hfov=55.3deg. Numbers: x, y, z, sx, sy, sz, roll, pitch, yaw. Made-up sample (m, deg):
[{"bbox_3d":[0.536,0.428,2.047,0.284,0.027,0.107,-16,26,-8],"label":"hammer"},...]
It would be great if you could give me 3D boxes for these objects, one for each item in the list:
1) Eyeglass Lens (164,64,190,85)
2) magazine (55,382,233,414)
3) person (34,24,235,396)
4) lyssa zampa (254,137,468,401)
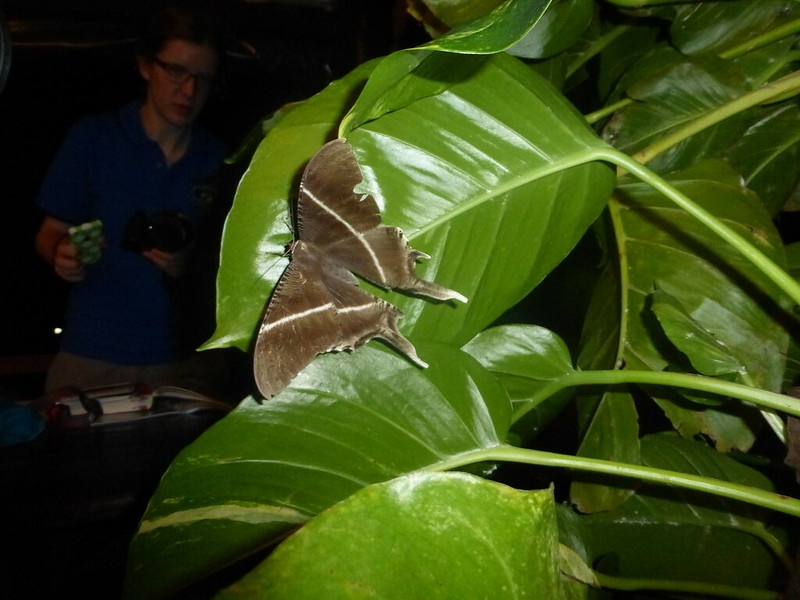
[{"bbox_3d":[-0.697,-0.708,2.402,0.054,0.016,0.055,41,31,17],"label":"Eyeglass Lens"},{"bbox_3d":[-0.804,0.311,2.410,0.276,0.033,0.143,-4,19,-15],"label":"magazine"},{"bbox_3d":[-0.830,-0.260,2.589,0.532,1.323,0.444,0,7,2],"label":"person"},{"bbox_3d":[-0.071,-0.041,1.661,0.387,0.494,0.310,15,34,-18],"label":"lyssa zampa"}]
